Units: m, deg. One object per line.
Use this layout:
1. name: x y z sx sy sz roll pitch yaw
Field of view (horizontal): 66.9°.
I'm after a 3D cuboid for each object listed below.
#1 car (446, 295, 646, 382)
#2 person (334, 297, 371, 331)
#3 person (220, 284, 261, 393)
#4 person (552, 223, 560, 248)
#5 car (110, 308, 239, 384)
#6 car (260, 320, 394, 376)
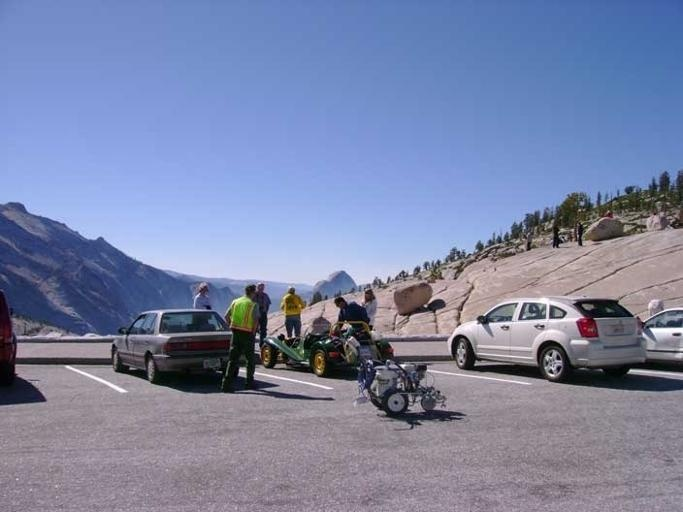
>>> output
1. car: 4.772 1.847 12.648 2.060 1.423 3.719 4 -3 -29
2. person: 0.242 1.426 12.262 0.865 1.035 0.491 -8 7 24
3. person: -2.208 1.756 11.467 0.717 2.354 1.240 4 -10 -10
4. person: 16.748 -1.483 40.466 0.394 1.729 1.523 -1 -10 17
5. car: -4.171 1.969 12.323 1.501 1.007 3.035 5 -3 -34
6. car: -0.453 2.347 13.314 1.696 1.206 2.808 4 -12 -41
